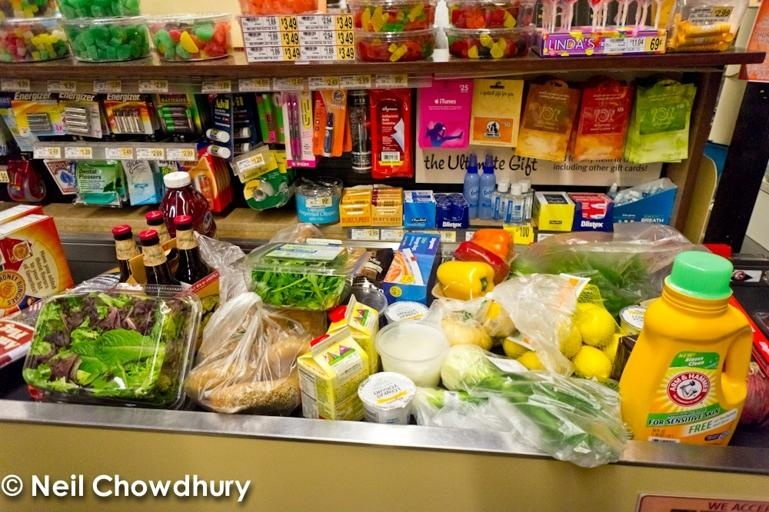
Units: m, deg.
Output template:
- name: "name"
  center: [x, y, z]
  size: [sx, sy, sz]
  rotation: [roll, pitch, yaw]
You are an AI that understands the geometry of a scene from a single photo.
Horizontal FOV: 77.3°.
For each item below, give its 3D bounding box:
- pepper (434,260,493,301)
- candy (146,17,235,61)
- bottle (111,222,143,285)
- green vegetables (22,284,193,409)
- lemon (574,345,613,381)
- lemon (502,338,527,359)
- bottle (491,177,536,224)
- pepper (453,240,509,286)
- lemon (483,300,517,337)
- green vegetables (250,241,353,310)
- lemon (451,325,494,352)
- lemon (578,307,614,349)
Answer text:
- name: "pepper"
  center: [0.270, 0.079, 1.629]
  size: [0.192, 0.137, 0.160]
  rotation: [3, 24, 16]
- name: "candy"
  center: [-0.818, -0.962, 2.148]
  size: [0.342, 0.206, 0.305]
  rotation: [-5, 29, -6]
- name: "bottle"
  center: [-0.831, -0.003, 1.532]
  size: [0.092, 0.186, 0.081]
  rotation: [4, 23, -1]
- name: "green vegetables"
  center: [-0.717, 0.223, 1.496]
  size: [0.489, 0.311, 0.456]
  rotation: [0, 23, 6]
- name: "lemon"
  center: [0.579, 0.301, 1.337]
  size: [0.098, 0.075, 0.078]
  rotation: [38, -3, 12]
- name: "lemon"
  center: [0.383, 0.276, 1.426]
  size: [0.062, 0.047, 0.034]
  rotation: [40, 43, -11]
- name: "bottle"
  center: [0.637, -0.282, 2.382]
  size: [0.140, 0.229, 0.161]
  rotation: [-20, 25, -39]
- name: "pepper"
  center: [0.358, 0.016, 1.769]
  size: [0.158, 0.137, 0.174]
  rotation: [4, 15, 24]
- name: "lemon"
  center: [0.363, 0.194, 1.489]
  size: [0.089, 0.112, 0.064]
  rotation: [7, 40, 39]
- name: "green vegetables"
  center: [-0.237, 0.032, 1.568]
  size: [0.275, 0.210, 0.350]
  rotation: [6, 24, 18]
- name: "lemon"
  center: [0.256, 0.242, 1.429]
  size: [0.084, 0.109, 0.081]
  rotation: [-12, 46, -3]
- name: "lemon"
  center: [0.596, 0.203, 1.418]
  size: [0.095, 0.104, 0.120]
  rotation: [-8, 13, 3]
